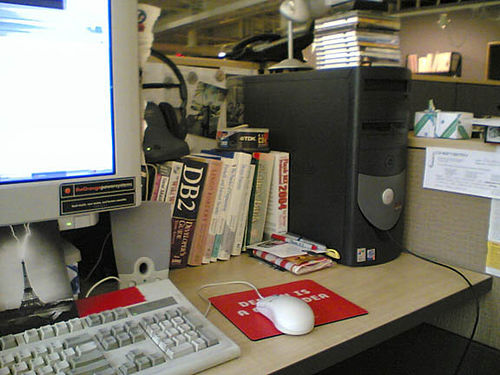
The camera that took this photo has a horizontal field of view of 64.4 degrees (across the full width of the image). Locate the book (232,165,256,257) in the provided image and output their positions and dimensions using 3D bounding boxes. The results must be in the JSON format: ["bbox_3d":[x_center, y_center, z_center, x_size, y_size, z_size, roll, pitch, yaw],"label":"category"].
[{"bbox_3d":[-0.017,0.063,1.064,0.047,0.193,0.194,15,0,-1],"label":"book"}]

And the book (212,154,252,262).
[{"bbox_3d":[-0.045,0.052,1.047,0.053,0.228,0.229,16,3,0],"label":"book"}]

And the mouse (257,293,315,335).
[{"bbox_3d":[0.067,0.236,0.789,0.088,0.058,0.145,-7,13,-23],"label":"mouse"}]

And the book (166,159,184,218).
[{"bbox_3d":[-0.190,-0.007,1.002,0.024,0.101,0.101,0,8,-17],"label":"book"}]

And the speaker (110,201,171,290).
[{"bbox_3d":[-0.244,0.112,0.935,0.164,0.173,0.121,-8,20,-37],"label":"speaker"}]
